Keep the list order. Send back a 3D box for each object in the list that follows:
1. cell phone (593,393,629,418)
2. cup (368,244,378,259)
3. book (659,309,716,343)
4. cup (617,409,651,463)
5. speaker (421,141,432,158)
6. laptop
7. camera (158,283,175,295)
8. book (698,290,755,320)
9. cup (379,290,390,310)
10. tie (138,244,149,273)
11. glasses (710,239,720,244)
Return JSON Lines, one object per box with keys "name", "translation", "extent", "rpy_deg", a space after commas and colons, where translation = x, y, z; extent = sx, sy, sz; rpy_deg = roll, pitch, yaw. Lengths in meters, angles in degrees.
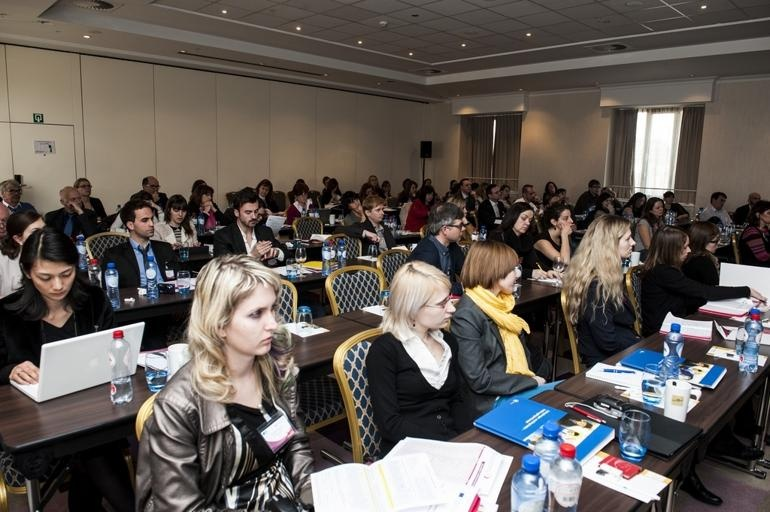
{"name": "cell phone", "translation": [1.147, 0.761, 2.410], "extent": [0.082, 0.033, 0.106], "rpy_deg": [-8, 15, -38]}
{"name": "cup", "translation": [-0.134, -0.049, 5.975], "extent": [0.164, 0.162, 0.152], "rpy_deg": [0, 3, 0]}
{"name": "book", "translation": [2.267, 0.516, 3.453], "extent": [0.268, 0.080, 0.278], "rpy_deg": [2, 4, 40]}
{"name": "cup", "translation": [1.146, 0.804, 2.165], "extent": [0.133, 0.212, 0.176], "rpy_deg": [7, 13, 29]}
{"name": "speaker", "translation": [1.259, -3.277, 14.480], "extent": [0.443, 0.668, 0.350], "rpy_deg": [3, 9, 6]}
{"name": "laptop", "translation": [-1.586, 0.444, 2.472], "extent": [0.439, 0.323, 0.525], "rpy_deg": [13, 14, 36]}
{"name": "camera", "translation": [-1.898, 0.279, 4.083], "extent": [0.115, 0.063, 0.091], "rpy_deg": [2, 5, 26]}
{"name": "book", "translation": [2.796, 0.412, 3.831], "extent": [0.297, 0.062, 0.205], "rpy_deg": [-19, 15, -40]}
{"name": "cup", "translation": [0.001, 0.344, 3.827], "extent": [0.082, 0.102, 0.172], "rpy_deg": [2, 13, 1]}
{"name": "tie", "translation": [-2.223, 0.000, 4.322], "extent": [0.150, 0.209, 0.072], "rpy_deg": [2, 0, -41]}
{"name": "glasses", "translation": [3.073, -0.145, 4.384], "extent": [0.067, 0.071, 0.021], "rpy_deg": [3, -5, 9]}
